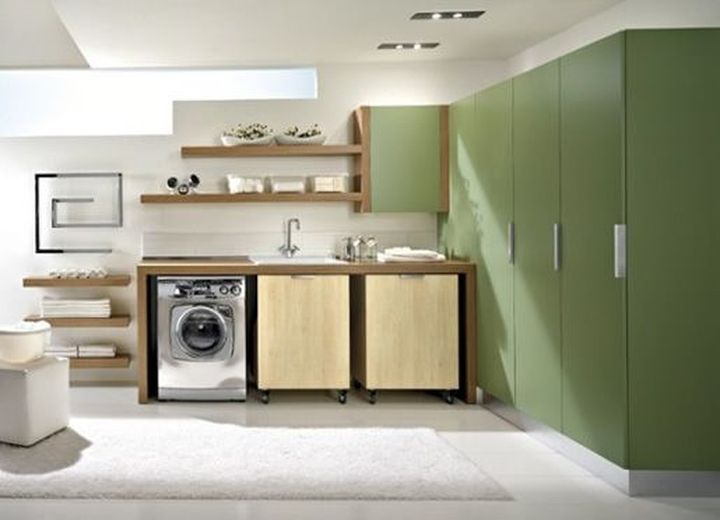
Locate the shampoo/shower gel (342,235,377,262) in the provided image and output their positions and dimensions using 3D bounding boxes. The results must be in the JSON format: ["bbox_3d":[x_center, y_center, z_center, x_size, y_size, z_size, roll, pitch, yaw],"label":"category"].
[{"bbox_3d":[-0.011,-0.102,5.902,0.255,0.241,0.251,0,0,2],"label":"shampoo/shower gel"}]

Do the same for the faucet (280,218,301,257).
[{"bbox_3d":[-0.671,-0.211,6.056,0.213,0.369,0.156,-1,11,-7],"label":"faucet"}]

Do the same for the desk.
[{"bbox_3d":[-0.451,0.617,5.566,2.919,1.217,0.594,0,11,0],"label":"desk"}]

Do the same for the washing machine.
[{"bbox_3d":[-1.439,0.665,5.731,0.880,1.036,0.844,0,-1,-1],"label":"washing machine"}]

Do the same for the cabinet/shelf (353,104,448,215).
[{"bbox_3d":[0.512,-0.863,6.061,0.875,0.933,0.555,-2,-11,20],"label":"cabinet/shelf"}]

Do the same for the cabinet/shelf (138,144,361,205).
[{"bbox_3d":[-0.889,-0.769,5.930,1.910,0.606,0.398,0,11,-2],"label":"cabinet/shelf"}]

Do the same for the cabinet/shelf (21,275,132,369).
[{"bbox_3d":[-2.578,0.560,5.698,0.942,0.762,0.298,0,0,-5],"label":"cabinet/shelf"}]
